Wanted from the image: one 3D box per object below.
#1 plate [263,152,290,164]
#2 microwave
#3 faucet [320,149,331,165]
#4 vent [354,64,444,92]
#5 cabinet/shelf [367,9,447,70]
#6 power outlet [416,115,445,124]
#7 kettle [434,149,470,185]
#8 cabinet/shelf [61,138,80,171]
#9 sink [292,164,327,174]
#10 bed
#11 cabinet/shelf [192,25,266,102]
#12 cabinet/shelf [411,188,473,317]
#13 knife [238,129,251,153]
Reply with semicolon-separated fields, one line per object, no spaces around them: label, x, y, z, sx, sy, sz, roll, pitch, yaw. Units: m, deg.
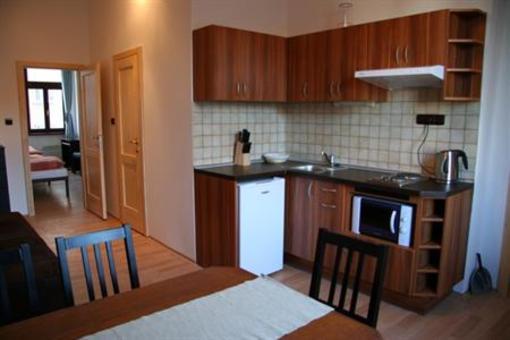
plate;0.292;-0.162;5.010;0.372;0.114;0.334;-6;11;-20
microwave;1.282;0.496;3.783;0.444;0.437;0.660;-7;11;-40
faucet;0.913;-0.154;4.822;0.089;0.169;0.219;-3;10;-4
vent;1.490;-0.930;3.852;0.797;0.205;0.740;3;12;30
cabinet/shelf;1.529;-1.297;3.829;0.494;0.562;0.846;-5;8;-41
power outlet;1.885;-0.540;4.025;0.241;0.112;0.056;4;7;34
kettle;2.011;-0.047;3.829;0.358;0.322;0.172;-6;11;-18
cabinet/shelf;-4.608;-0.375;9.389;0.331;0.755;0.828;-2;5;-36
sink;0.640;-0.014;4.606;0.234;0.084;0.185;-8;13;-43
bed;-4.097;0.116;7.514;0.593;0.769;1.038;-8;12;-29
cabinet/shelf;-0.305;-1.257;4.514;0.439;0.764;0.841;14;19;41
cabinet/shelf;1.843;0.788;3.778;0.839;1.155;0.235;-9;12;-33
knife;-0.133;-0.363;4.709;0.136;0.299;0.215;-3;10;-2
